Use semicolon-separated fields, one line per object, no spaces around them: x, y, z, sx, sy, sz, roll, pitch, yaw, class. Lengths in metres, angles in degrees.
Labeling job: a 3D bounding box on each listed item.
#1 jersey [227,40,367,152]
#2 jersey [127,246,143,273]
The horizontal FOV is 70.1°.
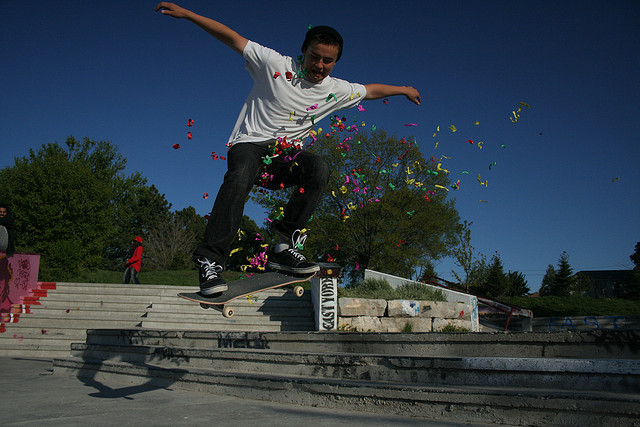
-0.362;-1.426;5.549;1.498;1.212;0.367;-3;-3;-11;jersey
-6.219;1.555;15.441;0.389;0.882;0.933;-3;-3;-20;jersey
